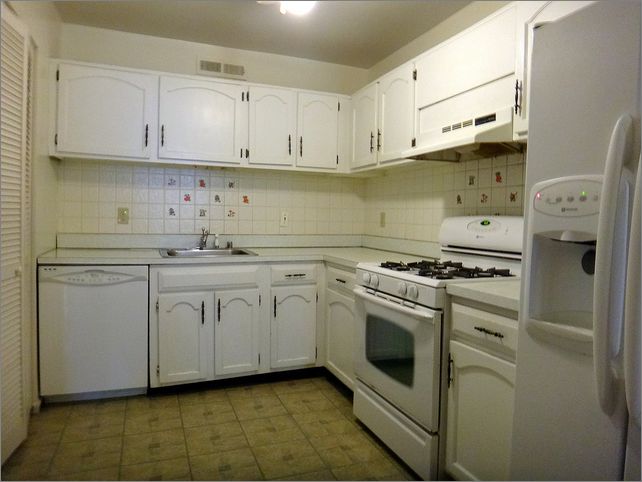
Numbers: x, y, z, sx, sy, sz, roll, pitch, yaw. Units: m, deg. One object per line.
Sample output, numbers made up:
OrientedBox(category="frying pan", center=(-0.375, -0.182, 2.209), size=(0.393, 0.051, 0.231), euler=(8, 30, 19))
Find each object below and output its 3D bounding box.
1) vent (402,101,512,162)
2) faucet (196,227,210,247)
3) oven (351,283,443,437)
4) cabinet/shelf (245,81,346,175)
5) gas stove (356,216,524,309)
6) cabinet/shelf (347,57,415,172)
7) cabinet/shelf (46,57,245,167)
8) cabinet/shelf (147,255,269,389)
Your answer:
OrientedBox(category="vent", center=(0.883, -0.607, 2.777), size=(0.477, 0.275, 0.786), euler=(-2, 10, -24))
OrientedBox(category="faucet", center=(-0.951, -0.023, 3.794), size=(0.079, 0.160, 0.124), euler=(2, 8, 3))
OrientedBox(category="oven", center=(0.398, 0.578, 2.611), size=(0.485, 0.758, 0.735), euler=(1, 2, -23))
OrientedBox(category="cabinet/shelf", center=(-0.237, -0.872, 3.857), size=(0.759, 0.631, 0.307), euler=(1, -1, -16))
OrientedBox(category="gas stove", center=(0.705, 0.122, 2.725), size=(0.699, 0.562, 0.897), euler=(2, 1, -21))
OrientedBox(category="cabinet/shelf", center=(0.525, -0.859, 3.547), size=(0.274, 0.688, 0.782), euler=(3, -3, -33))
OrientedBox(category="cabinet/shelf", center=(-1.227, -0.944, 3.487), size=(1.301, 0.679, 0.323), euler=(-1, 33, -26))
OrientedBox(category="cabinet/shelf", center=(-0.858, 0.605, 3.445), size=(0.830, 0.859, 0.444), euler=(0, -4, -30))
